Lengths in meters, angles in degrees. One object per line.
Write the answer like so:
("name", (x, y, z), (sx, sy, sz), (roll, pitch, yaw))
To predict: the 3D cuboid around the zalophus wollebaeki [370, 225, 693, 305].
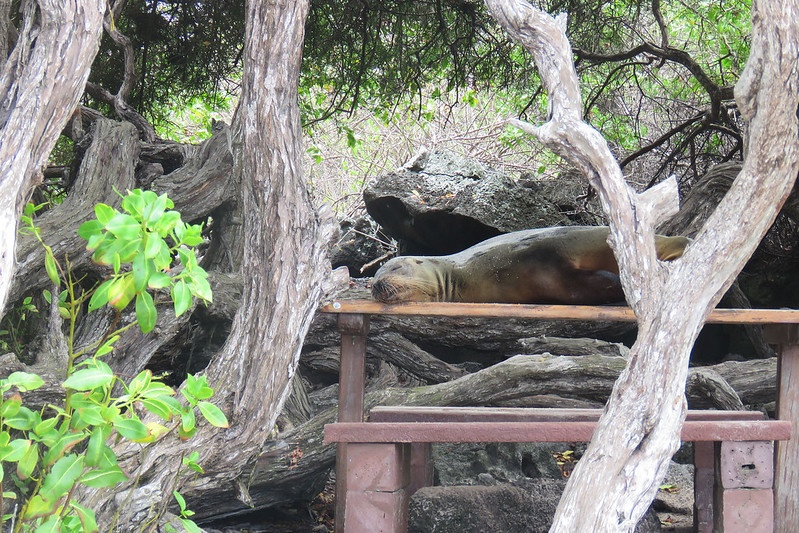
("zalophus wollebaeki", (0.903, -0.098, 7.724), (2.448, 0.705, 1.668), (0, -5, 15))
